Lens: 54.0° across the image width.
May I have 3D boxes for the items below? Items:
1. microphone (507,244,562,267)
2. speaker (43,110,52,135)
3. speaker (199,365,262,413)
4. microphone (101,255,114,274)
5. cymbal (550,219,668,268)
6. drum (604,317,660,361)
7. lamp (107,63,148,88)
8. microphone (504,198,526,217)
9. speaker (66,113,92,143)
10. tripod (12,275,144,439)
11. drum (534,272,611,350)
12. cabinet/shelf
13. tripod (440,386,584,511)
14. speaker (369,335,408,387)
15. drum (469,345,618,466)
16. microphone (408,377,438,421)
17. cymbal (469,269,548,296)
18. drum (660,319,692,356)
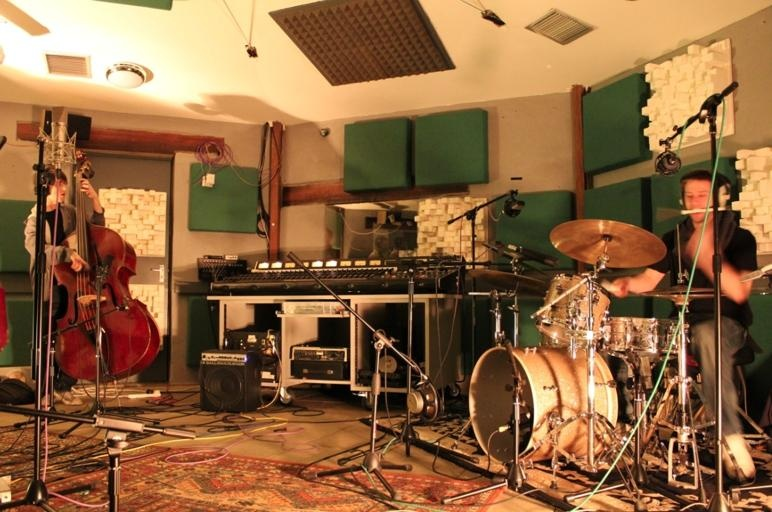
[{"bbox_3d":[1.403,-0.012,7.133,0.434,0.128,0.114,14,-33,13],"label":"microphone"},{"bbox_3d":[-2.567,-1.005,5.692,0.053,0.166,0.243,1,-4,-25],"label":"speaker"},{"bbox_3d":[-1.467,1.201,7.149,0.539,0.480,0.455,-1,-7,11],"label":"speaker"},{"bbox_3d":[-2.454,0.064,6.582,0.089,0.220,0.084,1,-12,-7],"label":"microphone"},{"bbox_3d":[1.637,-0.100,5.615,0.813,0.345,0.518,-1,-4,12],"label":"cymbal"},{"bbox_3d":[1.794,0.607,5.545,0.337,0.190,0.327,2,-8,0],"label":"drum"},{"bbox_3d":[-2.712,-1.891,7.961,0.341,0.195,0.427,-3,-5,40],"label":"lamp"},{"bbox_3d":[1.216,-0.474,7.303,0.175,0.162,0.180,0,-3,2],"label":"microphone"},{"bbox_3d":[-3.199,-1.267,7.791,0.206,0.193,1.011,1,-4,-23],"label":"speaker"},{"bbox_3d":[-2.649,0.881,6.491,1.442,1.309,1.065,1,-1,17],"label":"tripod"},{"bbox_3d":[1.358,0.411,5.728,0.600,0.567,0.730,-2,-4,29],"label":"drum"},{"bbox_3d":[-0.815,0.928,7.840,2.249,0.960,0.745,2,-9,-31],"label":"cabinet/shelf"},{"bbox_3d":[0.878,1.368,5.677,0.943,0.832,0.870,7,-10,-36],"label":"tripod"},{"bbox_3d":[-0.014,0.983,7.009,0.461,0.551,0.155,3,-3,8],"label":"speaker"},{"bbox_3d":[1.186,1.089,5.912,1.047,0.989,0.984,3,-12,-41],"label":"drum"},{"bbox_3d":[0.270,1.088,5.686,0.243,0.310,0.181,0,-3,1],"label":"microphone"},{"bbox_3d":[1.034,0.225,6.523,0.636,0.230,0.675,-1,-4,7],"label":"cymbal"},{"bbox_3d":[2.057,0.584,5.456,0.270,0.244,0.260,0,-11,8],"label":"drum"}]
